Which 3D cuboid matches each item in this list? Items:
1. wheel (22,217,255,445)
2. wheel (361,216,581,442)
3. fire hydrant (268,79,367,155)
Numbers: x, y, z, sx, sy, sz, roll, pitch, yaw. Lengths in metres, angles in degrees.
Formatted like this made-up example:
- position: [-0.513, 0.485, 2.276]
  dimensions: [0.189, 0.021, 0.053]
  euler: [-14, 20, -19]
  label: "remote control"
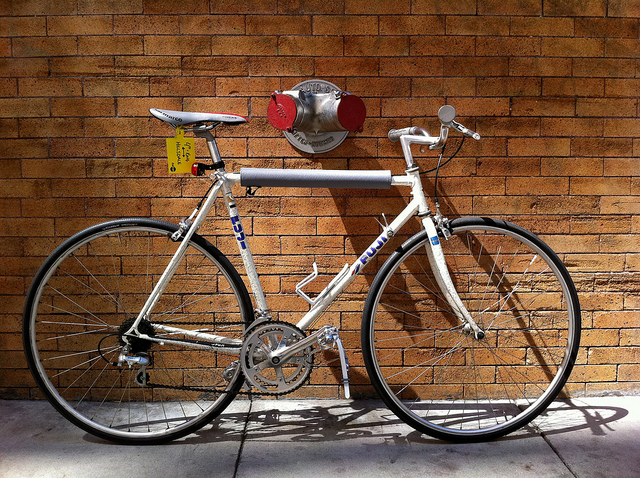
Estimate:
- position: [-1.132, 0.573, 6.341]
  dimensions: [1.302, 0.153, 1.121]
  euler: [25, -86, -2]
  label: "wheel"
- position: [0.930, 0.572, 6.407]
  dimensions: [1.773, 0.328, 1.406]
  euler: [0, -86, -2]
  label: "wheel"
- position: [-0.021, -0.821, 6.285]
  dimensions: [0.652, 0.545, 0.194]
  euler: [2, -75, 0]
  label: "fire hydrant"
